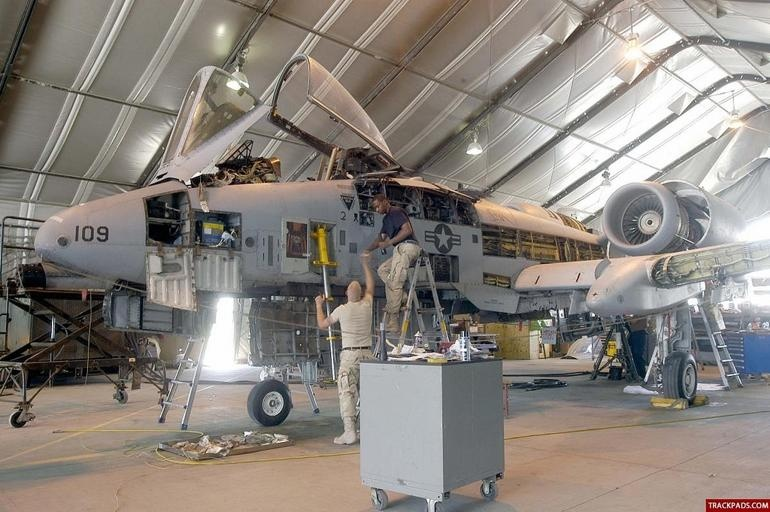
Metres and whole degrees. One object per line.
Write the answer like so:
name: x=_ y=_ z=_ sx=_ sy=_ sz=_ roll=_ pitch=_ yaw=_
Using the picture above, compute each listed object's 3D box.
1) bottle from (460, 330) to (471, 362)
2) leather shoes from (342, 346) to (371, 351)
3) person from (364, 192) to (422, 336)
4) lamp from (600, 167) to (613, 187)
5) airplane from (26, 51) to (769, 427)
bottle: x=1.153 y=1.282 z=7.951 sx=0.120 sy=0.391 sz=0.258 roll=-10 pitch=-14 yaw=41
leather shoes: x=-0.491 y=1.614 z=9.870 sx=0.467 sy=0.054 sz=0.139 roll=2 pitch=-11 yaw=-15
person: x=0.250 y=0.239 z=11.616 sx=0.978 sy=2.891 sz=0.771 roll=-4 pitch=-11 yaw=16
lamp: x=10.993 y=-3.913 z=27.916 sx=0.900 sy=0.951 sz=0.747 roll=1 pitch=-2 yaw=3
airplane: x=-0.008 y=-0.731 z=11.604 sx=11.157 sy=3.404 sz=9.494 roll=1 pitch=-4 yaw=-35
